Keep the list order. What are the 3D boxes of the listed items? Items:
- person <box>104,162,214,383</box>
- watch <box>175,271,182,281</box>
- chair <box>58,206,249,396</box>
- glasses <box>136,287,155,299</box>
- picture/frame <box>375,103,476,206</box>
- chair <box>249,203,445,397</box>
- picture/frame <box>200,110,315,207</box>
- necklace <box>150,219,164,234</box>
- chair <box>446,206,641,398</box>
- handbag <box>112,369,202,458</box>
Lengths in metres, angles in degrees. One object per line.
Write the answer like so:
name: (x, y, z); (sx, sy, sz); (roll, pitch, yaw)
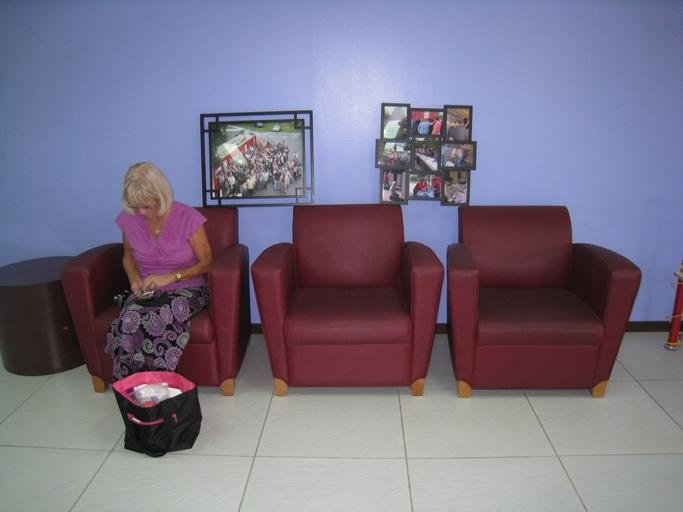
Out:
person: (-1.113, 0.075, 3.199); (0.614, 1.223, 0.586); (-3, 16, -8)
watch: (-1.015, 0.135, 3.288); (0.038, 0.063, 0.043); (0, 3, -26)
chair: (-1.191, 0.286, 3.569); (1.070, 1.139, 0.921); (-1, 15, -11)
glasses: (-1.180, 0.234, 3.194); (0.106, 0.042, 0.156); (-8, 17, -25)
picture/frame: (0.602, -0.759, 3.764); (0.654, 0.687, 0.026); (0, 9, -1)
chair: (0.042, 0.273, 3.484); (1.129, 1.156, 0.849); (-2, 17, -5)
picture/frame: (-0.601, -0.730, 3.774); (0.623, 0.563, 0.014); (0, 4, 1)
necklace: (-1.158, -0.182, 3.307); (0.065, 0.104, 0.036); (3, 13, -1)
chair: (1.197, 0.273, 3.426); (1.089, 1.041, 0.761); (1, 16, 4)
handbag: (-1.017, 0.882, 2.990); (0.550, 0.456, 0.392); (3, 32, -4)
